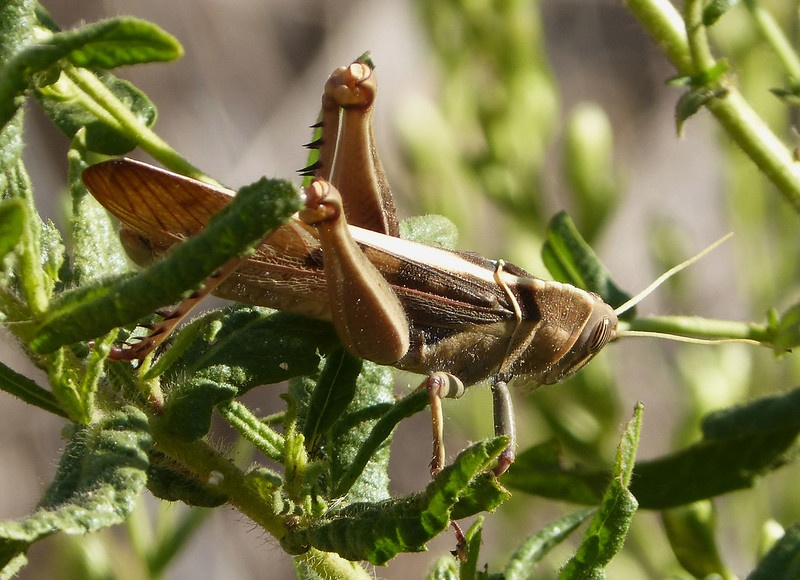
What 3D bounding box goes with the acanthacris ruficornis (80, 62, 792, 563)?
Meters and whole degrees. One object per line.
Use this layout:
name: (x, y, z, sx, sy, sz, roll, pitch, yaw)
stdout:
acanthacris ruficornis: (-0.060, 0.000, 2.828, 1.383, 1.210, 0.478, 7, -6, -23)
